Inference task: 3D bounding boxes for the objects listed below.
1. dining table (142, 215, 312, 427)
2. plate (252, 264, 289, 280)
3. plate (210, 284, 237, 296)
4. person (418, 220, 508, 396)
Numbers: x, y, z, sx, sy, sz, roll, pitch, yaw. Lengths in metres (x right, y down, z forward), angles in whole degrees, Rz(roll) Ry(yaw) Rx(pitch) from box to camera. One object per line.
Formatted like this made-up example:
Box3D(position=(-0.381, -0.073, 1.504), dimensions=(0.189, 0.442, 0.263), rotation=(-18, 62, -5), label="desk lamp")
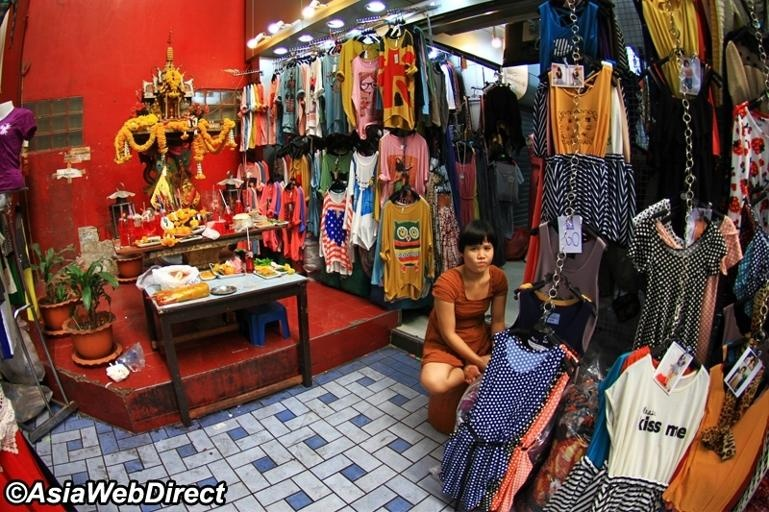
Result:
Box3D(position=(-1.382, 0.517, 4.358), dimensions=(1.274, 1.316, 0.919), rotation=(-14, 20, -27), label="dining table")
Box3D(position=(-0.992, 0.126, 4.400), dimensions=(0.208, 0.030, 0.149), rotation=(-10, 25, -39), label="plate")
Box3D(position=(-1.313, 0.269, 4.038), dimensions=(0.225, 0.037, 0.158), rotation=(-3, 18, 8), label="plate")
Box3D(position=(0.610, 0.347, 3.714), dimensions=(0.702, 1.190, 0.553), rotation=(-4, 17, 3), label="person")
